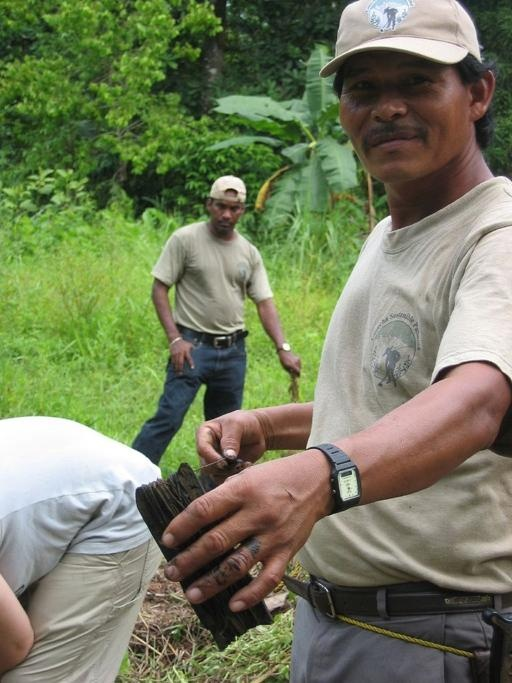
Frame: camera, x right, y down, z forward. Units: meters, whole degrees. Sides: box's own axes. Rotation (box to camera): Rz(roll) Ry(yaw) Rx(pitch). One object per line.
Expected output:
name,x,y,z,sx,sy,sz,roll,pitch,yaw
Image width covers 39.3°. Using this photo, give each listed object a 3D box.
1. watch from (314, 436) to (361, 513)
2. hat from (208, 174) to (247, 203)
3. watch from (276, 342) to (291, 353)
watch,0.097,0.187,0.982,0.051,0.075,0.087,-7,4,-40
hat,-0.205,-1.082,5.029,0.211,0.132,0.244,5,13,-8
watch,0.193,0.038,5.065,0.020,0.075,0.070,46,16,-47
